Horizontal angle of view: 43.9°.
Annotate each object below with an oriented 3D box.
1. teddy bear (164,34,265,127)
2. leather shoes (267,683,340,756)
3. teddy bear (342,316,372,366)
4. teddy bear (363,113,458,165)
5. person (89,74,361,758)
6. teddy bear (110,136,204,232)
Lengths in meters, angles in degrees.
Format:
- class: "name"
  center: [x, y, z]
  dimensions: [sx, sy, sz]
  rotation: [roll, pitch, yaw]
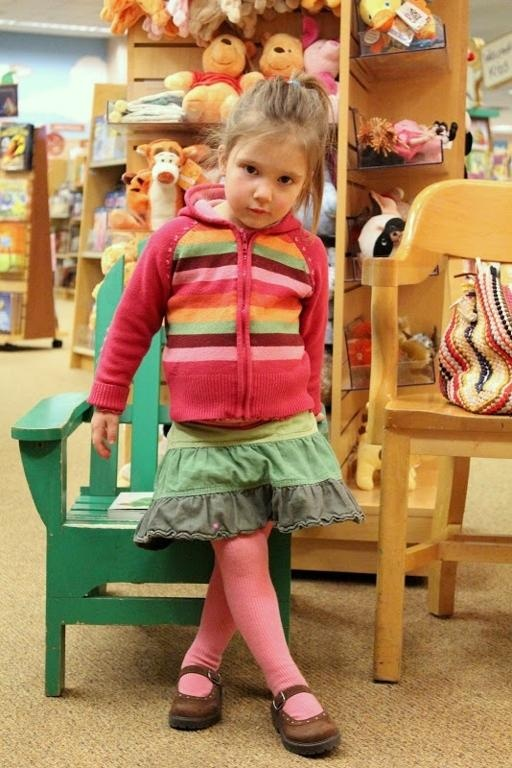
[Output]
- class: "teddy bear"
  center: [-0.106, -0.818, 1.718]
  dimensions: [0.270, 0.246, 0.152]
  rotation: [10, 12, 12]
- class: "leather shoes"
  center: [0.056, 0.411, 0.799]
  dimensions: [0.068, 0.058, 0.135]
  rotation: [-3, -7, -17]
- class: "teddy bear"
  center: [0.250, -0.111, 1.594]
  dimensions: [0.083, 0.122, 0.044]
  rotation: [2, -30, -8]
- class: "teddy bear"
  center: [0.369, -0.592, 1.609]
  dimensions: [0.200, 0.085, 0.270]
  rotation: [0, 18, 11]
- class: "person"
  center: [-0.029, 0.007, 0.861]
  dimensions: [0.372, 0.836, 0.311]
  rotation: [1, 0, -19]
- class: "teddy bear"
  center: [-0.273, -0.571, 1.883]
  dimensions: [0.288, 0.264, 0.153]
  rotation: [3, 30, -6]
